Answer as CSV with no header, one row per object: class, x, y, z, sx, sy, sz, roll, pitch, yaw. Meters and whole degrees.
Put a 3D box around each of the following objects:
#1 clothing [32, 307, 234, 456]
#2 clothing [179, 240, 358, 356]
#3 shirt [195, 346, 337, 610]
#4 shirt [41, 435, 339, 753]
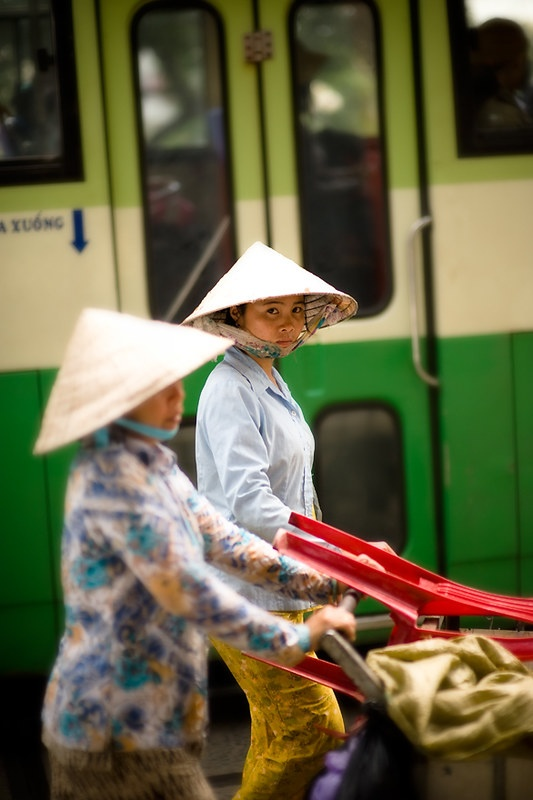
clothing,-0.275,-0.043,1.694,0.416,0.285,0.248,-4,7,-3
clothing,0.010,-0.315,2.655,0.493,0.278,0.470,-10,-12,12
shirt,-0.004,0.194,2.556,0.430,0.737,0.903,1,13,0
shirt,-0.096,0.406,1.792,0.639,0.610,0.540,5,11,33
